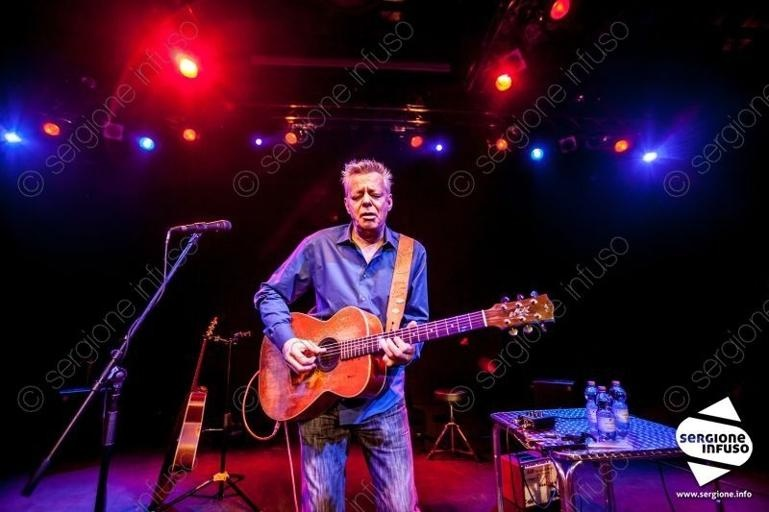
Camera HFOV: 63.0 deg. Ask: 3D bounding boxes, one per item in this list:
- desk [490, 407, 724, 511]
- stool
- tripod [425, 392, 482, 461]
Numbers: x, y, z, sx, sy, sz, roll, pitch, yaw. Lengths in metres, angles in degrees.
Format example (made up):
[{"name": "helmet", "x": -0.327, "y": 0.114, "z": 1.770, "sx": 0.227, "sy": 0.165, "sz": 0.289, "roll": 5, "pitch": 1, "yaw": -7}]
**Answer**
[{"name": "desk", "x": 2.732, "y": 2.562, "z": 8.788, "sx": 1.743, "sy": 1.818, "sz": 1.822, "roll": 0, "pitch": -4, "yaw": -18}, {"name": "stool", "x": 1.270, "y": 3.095, "z": 11.755, "sx": 0.793, "sy": 1.297, "sz": 0.718, "roll": -1, "pitch": 3, "yaw": 13}, {"name": "tripod", "x": 1.275, "y": 3.108, "z": 11.688, "sx": 0.860, "sy": 1.341, "sz": 0.798, "roll": 4, "pitch": 10, "yaw": 37}]
